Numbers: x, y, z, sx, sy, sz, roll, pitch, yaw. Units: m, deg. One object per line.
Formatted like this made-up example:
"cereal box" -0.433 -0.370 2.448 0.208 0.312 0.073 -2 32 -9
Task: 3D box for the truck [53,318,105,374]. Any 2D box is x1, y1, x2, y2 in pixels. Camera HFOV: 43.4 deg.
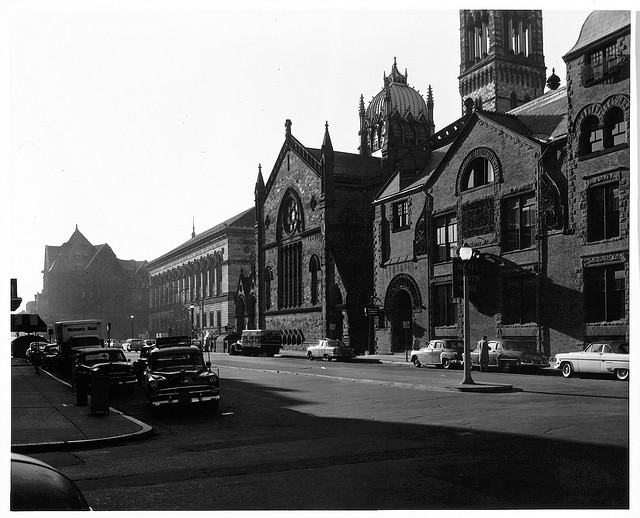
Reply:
"truck" -12.795 4.161 42.235 2.492 4.060 2.646 -3 -3 4

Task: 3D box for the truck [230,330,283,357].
"truck" -5.026 6.852 65.770 1.950 1.993 3.652 2 -2 -37
